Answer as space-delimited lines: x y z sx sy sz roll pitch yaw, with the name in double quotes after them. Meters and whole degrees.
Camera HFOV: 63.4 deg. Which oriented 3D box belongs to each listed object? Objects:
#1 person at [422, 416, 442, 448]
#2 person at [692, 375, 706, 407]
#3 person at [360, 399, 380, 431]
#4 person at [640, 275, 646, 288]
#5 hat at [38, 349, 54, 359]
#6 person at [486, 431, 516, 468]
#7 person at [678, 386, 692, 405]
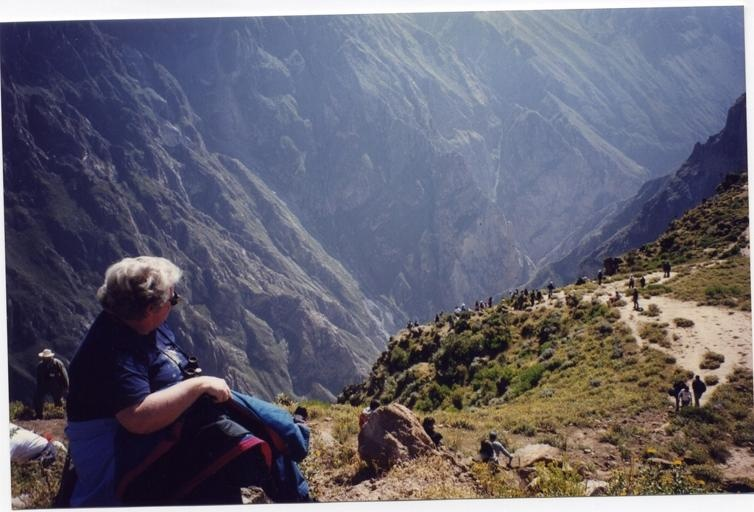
2.231 7.094 24.588 0.431 1.129 0.695 -15 -19 -29 "person"
13.967 5.813 26.531 0.536 1.421 1.256 -12 -5 25 "person"
-0.319 6.514 25.077 0.937 0.937 2.034 -11 -5 -5 "person"
16.619 1.662 38.174 0.333 0.701 1.224 -12 -5 22 "person"
-14.696 4.407 27.223 0.527 0.436 1.060 -9 -6 -26 "hat"
5.015 7.799 24.698 0.881 1.211 1.680 -11 -5 8 "person"
13.300 6.099 26.299 0.450 0.892 0.337 -11 -4 15 "person"
